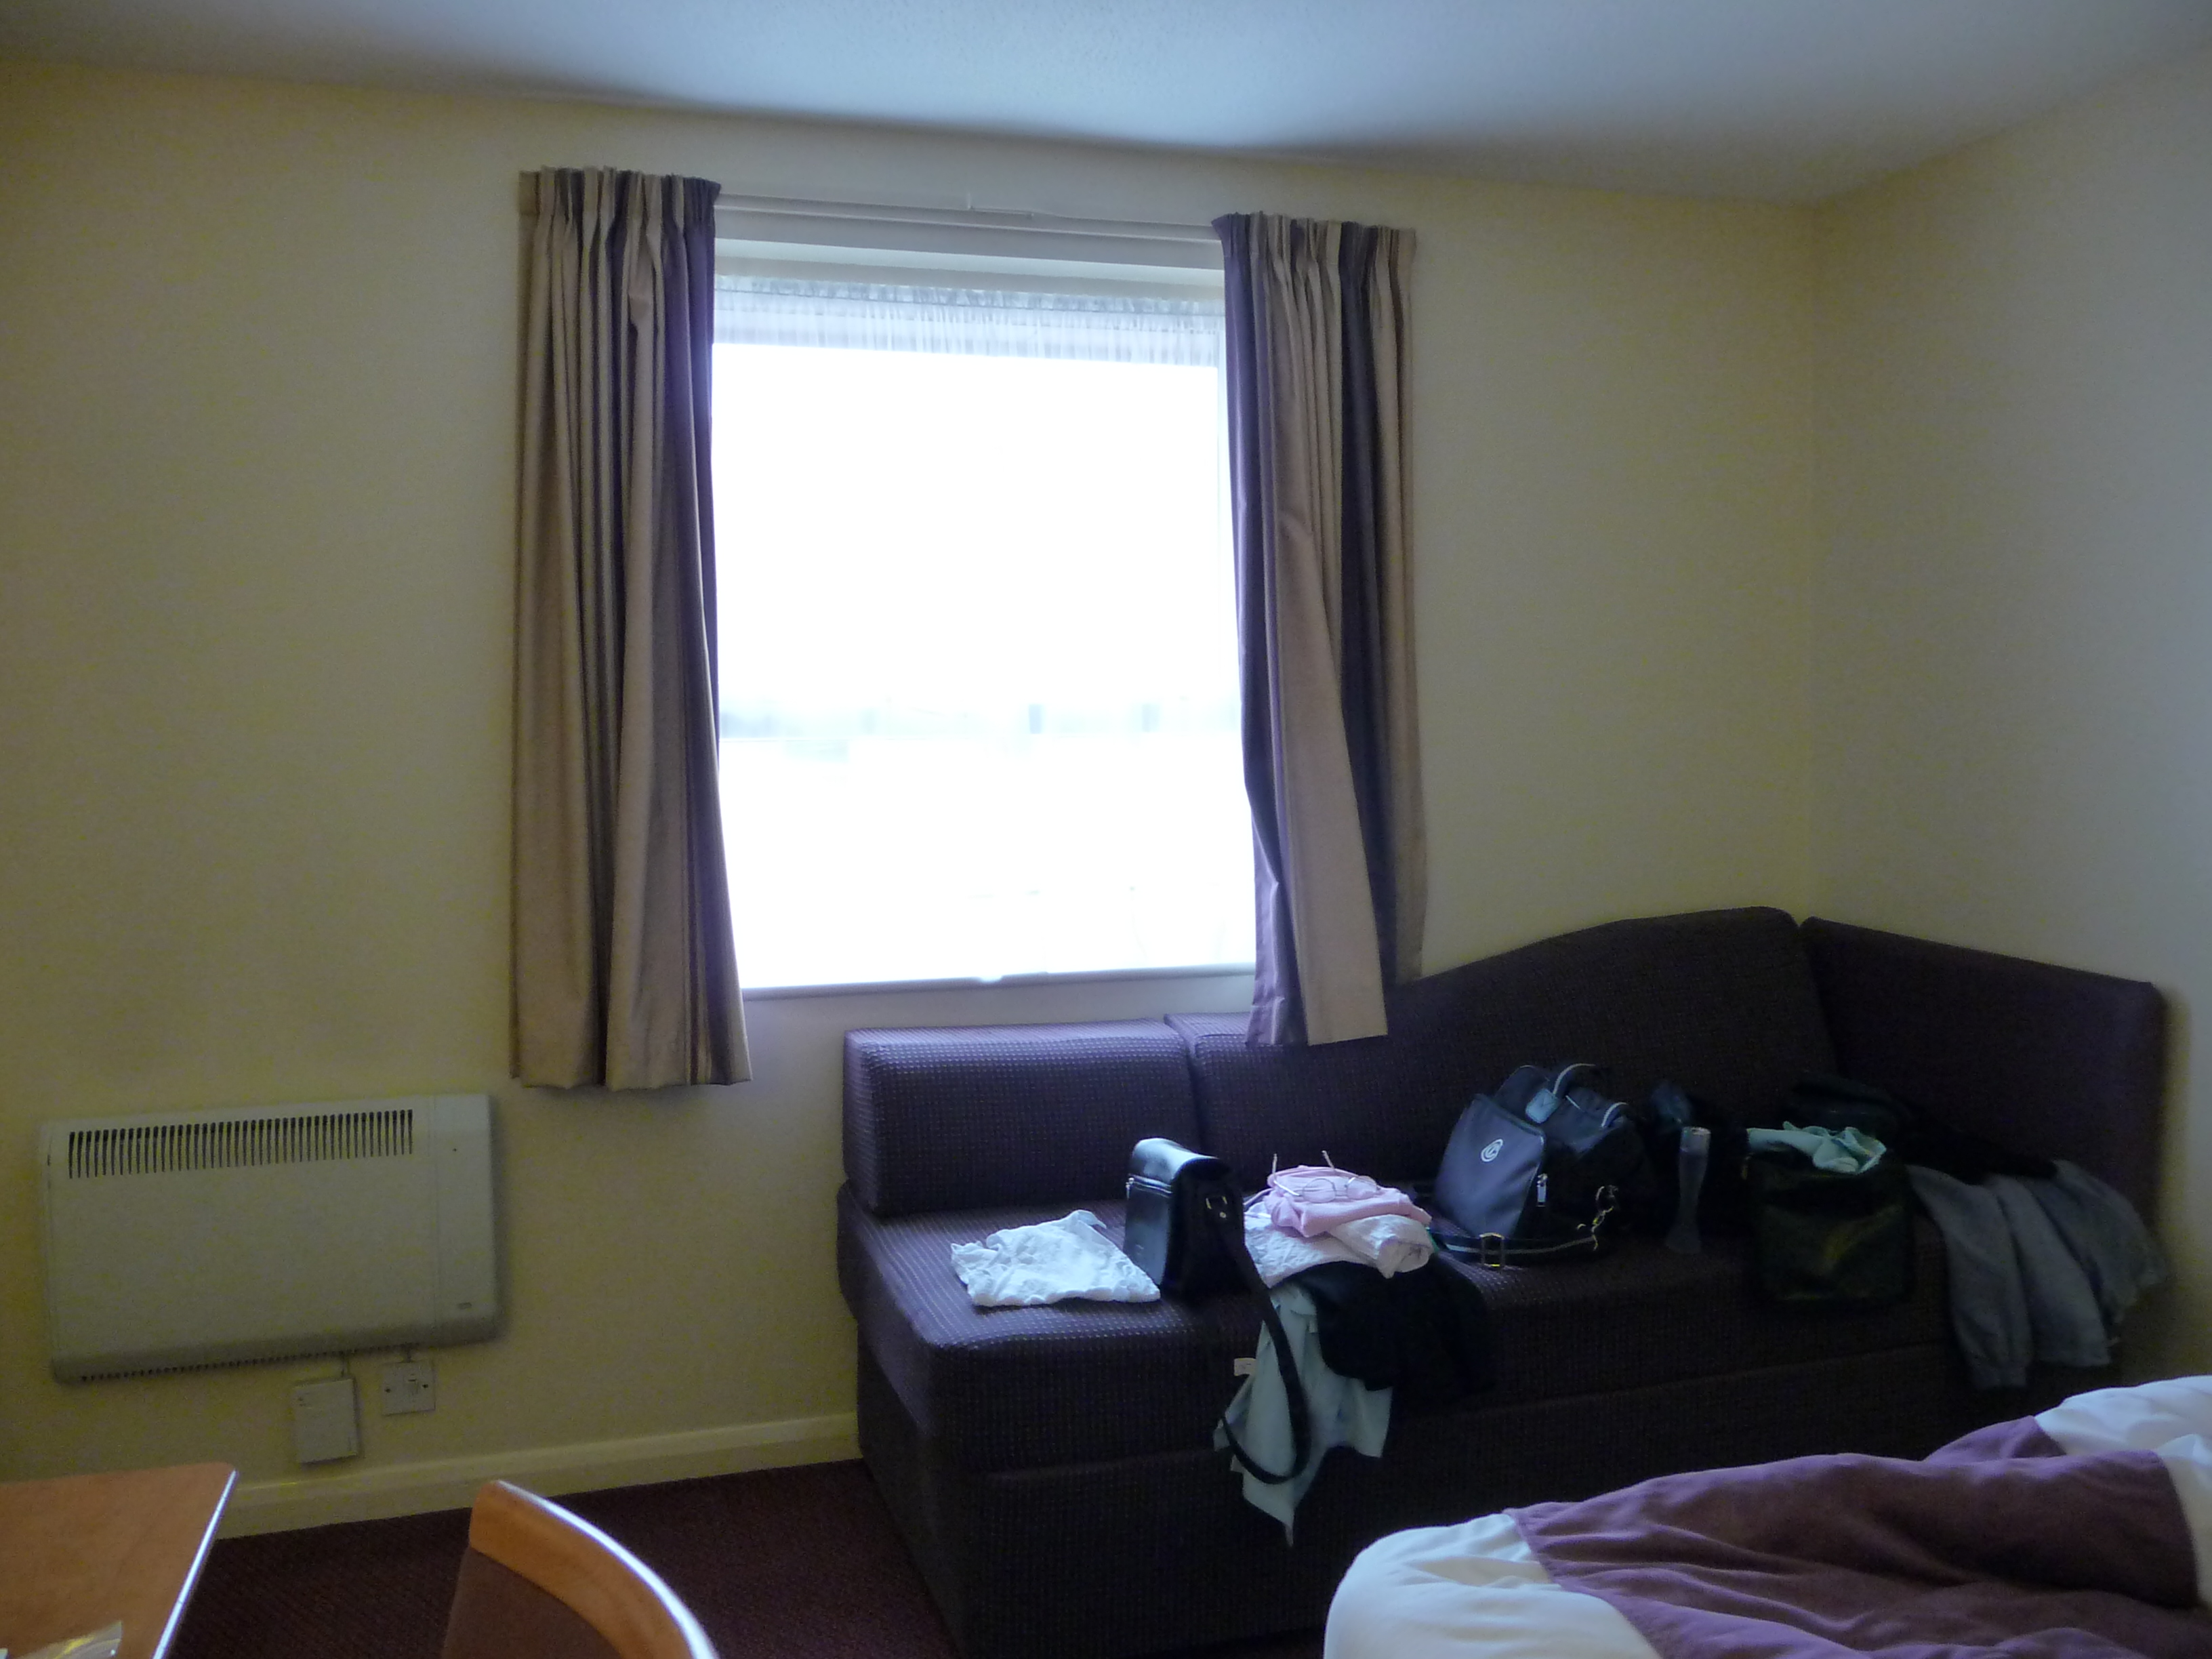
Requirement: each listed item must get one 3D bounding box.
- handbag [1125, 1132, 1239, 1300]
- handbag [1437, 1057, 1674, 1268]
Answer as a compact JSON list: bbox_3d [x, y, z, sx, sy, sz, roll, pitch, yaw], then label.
[{"bbox_3d":[0.131,0.768,3.559,0.199,0.323,0.414,1,-5,-17],"label":"handbag"},{"bbox_3d":[0.956,0.716,3.847,0.384,0.324,0.392,-3,4,-19],"label":"handbag"}]
